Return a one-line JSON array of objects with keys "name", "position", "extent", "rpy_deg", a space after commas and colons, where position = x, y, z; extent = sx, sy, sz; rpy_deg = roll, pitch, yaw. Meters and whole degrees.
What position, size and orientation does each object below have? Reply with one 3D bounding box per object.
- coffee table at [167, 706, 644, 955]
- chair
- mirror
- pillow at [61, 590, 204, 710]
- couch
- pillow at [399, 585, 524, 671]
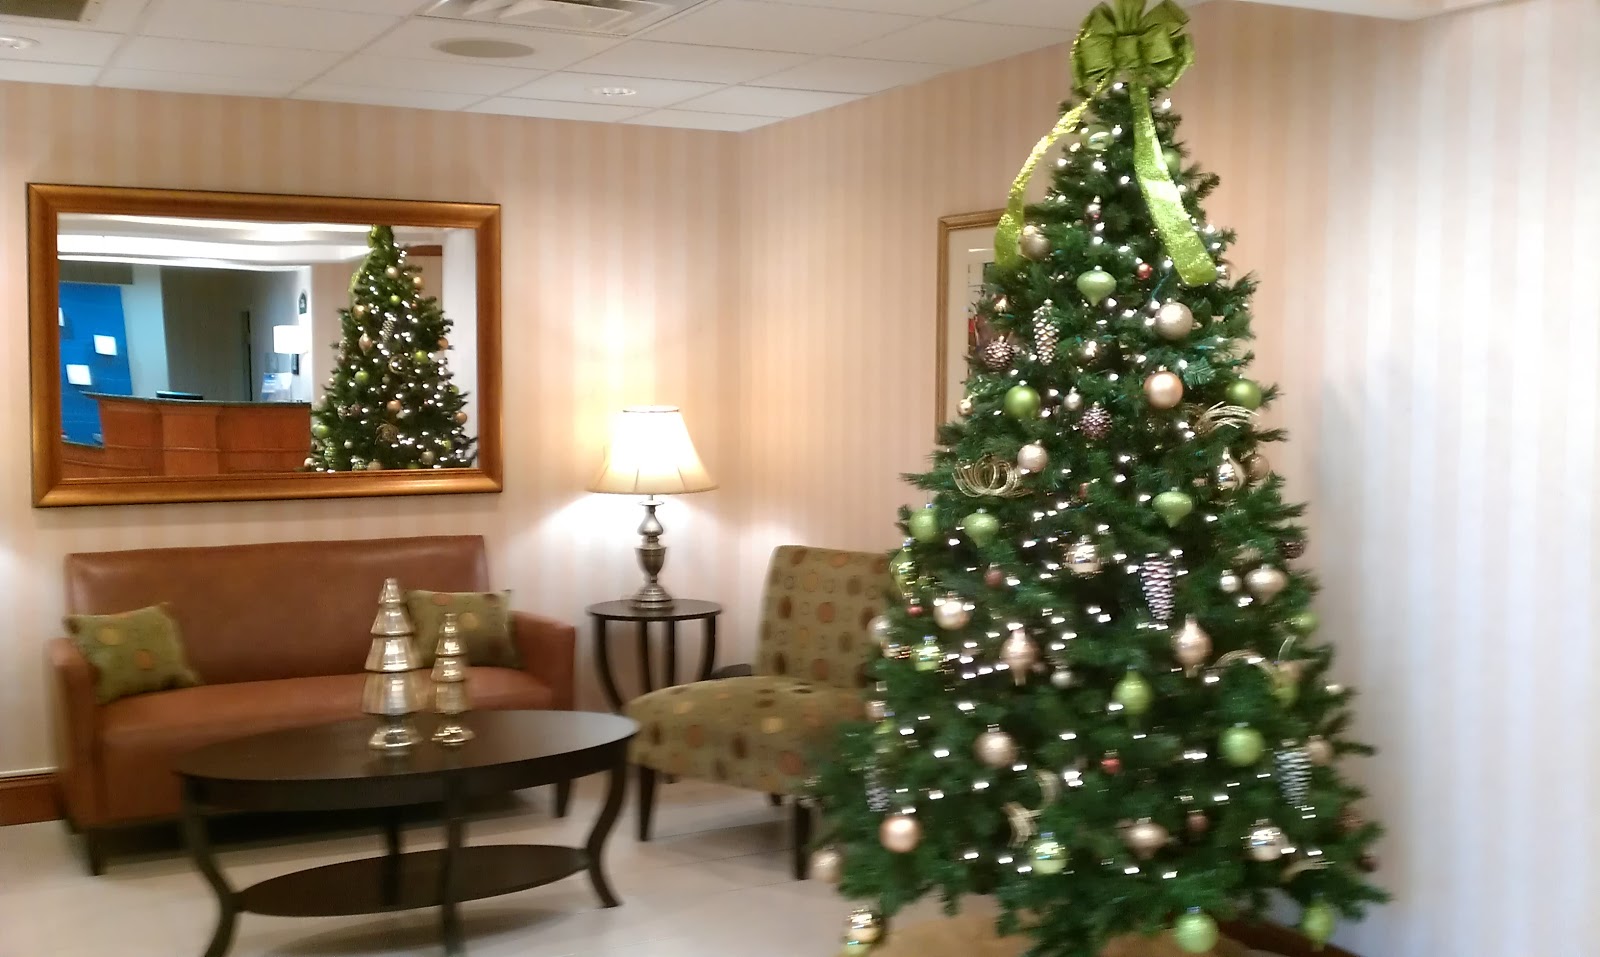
[{"name": "coffee table", "position": [-1.764, 1.146, 4.971], "extent": [1.717, 0.675, 1.007], "rpy_deg": [-3, 4, -36]}, {"name": "chair", "position": [-0.002, 1.104, 6.343], "extent": [1.598, 1.851, 1.685], "rpy_deg": [2, -1, 34]}, {"name": "mirror", "position": [-2.939, -0.730, 6.433], "extent": [2.947, 1.714, 0.082], "rpy_deg": [1, 2, 10]}, {"name": "pillow", "position": [-3.407, 0.881, 5.960], "extent": [0.558, 0.428, 0.274], "rpy_deg": [-4, 4, -30]}, {"name": "couch", "position": [-2.602, 1.074, 6.296], "extent": [2.514, 1.230, 1.130], "rpy_deg": [0, 6, -36]}, {"name": "pillow", "position": [-1.808, 0.807, 6.203], "extent": [0.666, 0.432, 0.205], "rpy_deg": [-1, -25, -10]}]
